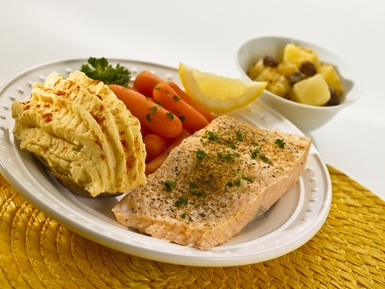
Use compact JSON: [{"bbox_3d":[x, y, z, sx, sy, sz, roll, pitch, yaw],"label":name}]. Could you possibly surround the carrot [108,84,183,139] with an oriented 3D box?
[{"bbox_3d":[-0.345,-0.231,3.075,0.500,0.153,0.142,39,44,8],"label":"carrot"}]
